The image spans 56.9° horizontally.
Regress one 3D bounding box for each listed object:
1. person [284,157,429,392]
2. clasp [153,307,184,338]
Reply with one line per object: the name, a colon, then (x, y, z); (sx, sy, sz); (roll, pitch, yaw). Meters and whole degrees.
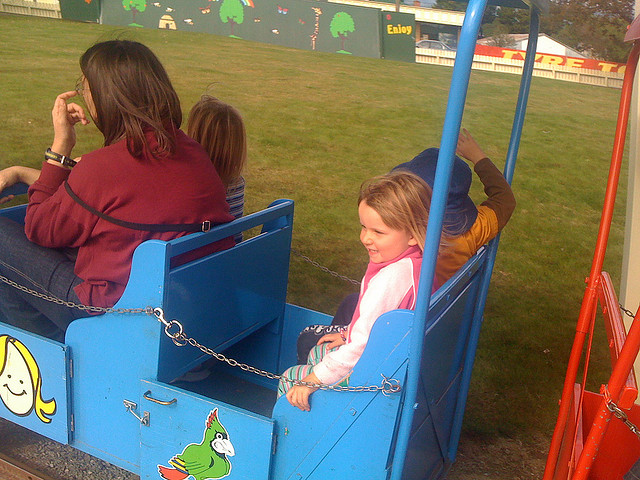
person: (0.164, 0.267, 2.814); (0.589, 1.255, 1.003); (5, 19, 3)
clasp: (-0.703, 0.374, 2.669); (0.045, 0.182, 0.074); (-5, 48, 35)
